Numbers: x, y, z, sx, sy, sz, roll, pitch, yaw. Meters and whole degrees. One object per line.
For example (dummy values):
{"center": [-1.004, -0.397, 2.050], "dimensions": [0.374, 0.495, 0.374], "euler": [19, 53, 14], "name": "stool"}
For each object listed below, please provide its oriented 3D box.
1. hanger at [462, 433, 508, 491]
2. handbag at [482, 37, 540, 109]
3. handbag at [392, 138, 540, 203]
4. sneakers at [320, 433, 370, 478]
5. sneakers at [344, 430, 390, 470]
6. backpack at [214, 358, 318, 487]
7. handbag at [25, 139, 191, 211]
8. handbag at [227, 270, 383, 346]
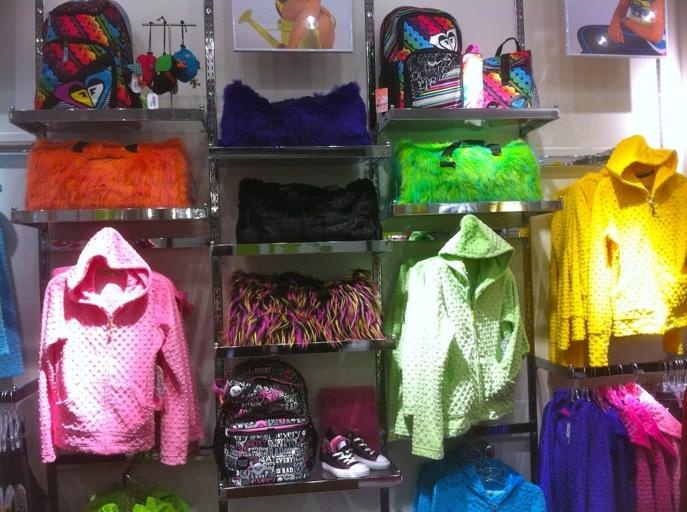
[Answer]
{"center": [0.689, 0.981, 3.131], "dimensions": [0.177, 0.282, 0.272], "euler": [-3, 11, -3], "name": "hanger"}
{"center": [0.792, -0.850, 3.136], "dimensions": [0.248, 0.286, 0.159], "euler": [0, 11, 17], "name": "handbag"}
{"center": [0.590, -0.407, 3.104], "dimensions": [0.664, 0.297, 0.133], "euler": [-4, 10, -6], "name": "handbag"}
{"center": [-0.006, 0.929, 3.066], "dimensions": [0.104, 0.150, 0.302], "euler": [0, -5, -26], "name": "sneakers"}
{"center": [0.101, 0.908, 3.122], "dimensions": [0.089, 0.125, 0.267], "euler": [-3, 5, -39], "name": "sneakers"}
{"center": [-0.313, 0.688, 3.146], "dimensions": [0.591, 0.731, 0.430], "euler": [-1, -8, -7], "name": "backpack"}
{"center": [-1.077, -0.373, 2.987], "dimensions": [0.686, 0.328, 0.182], "euler": [-3, 10, 1], "name": "handbag"}
{"center": [-0.175, 0.239, 3.029], "dimensions": [0.507, 0.207, 0.376], "euler": [-1, 18, -5], "name": "handbag"}
